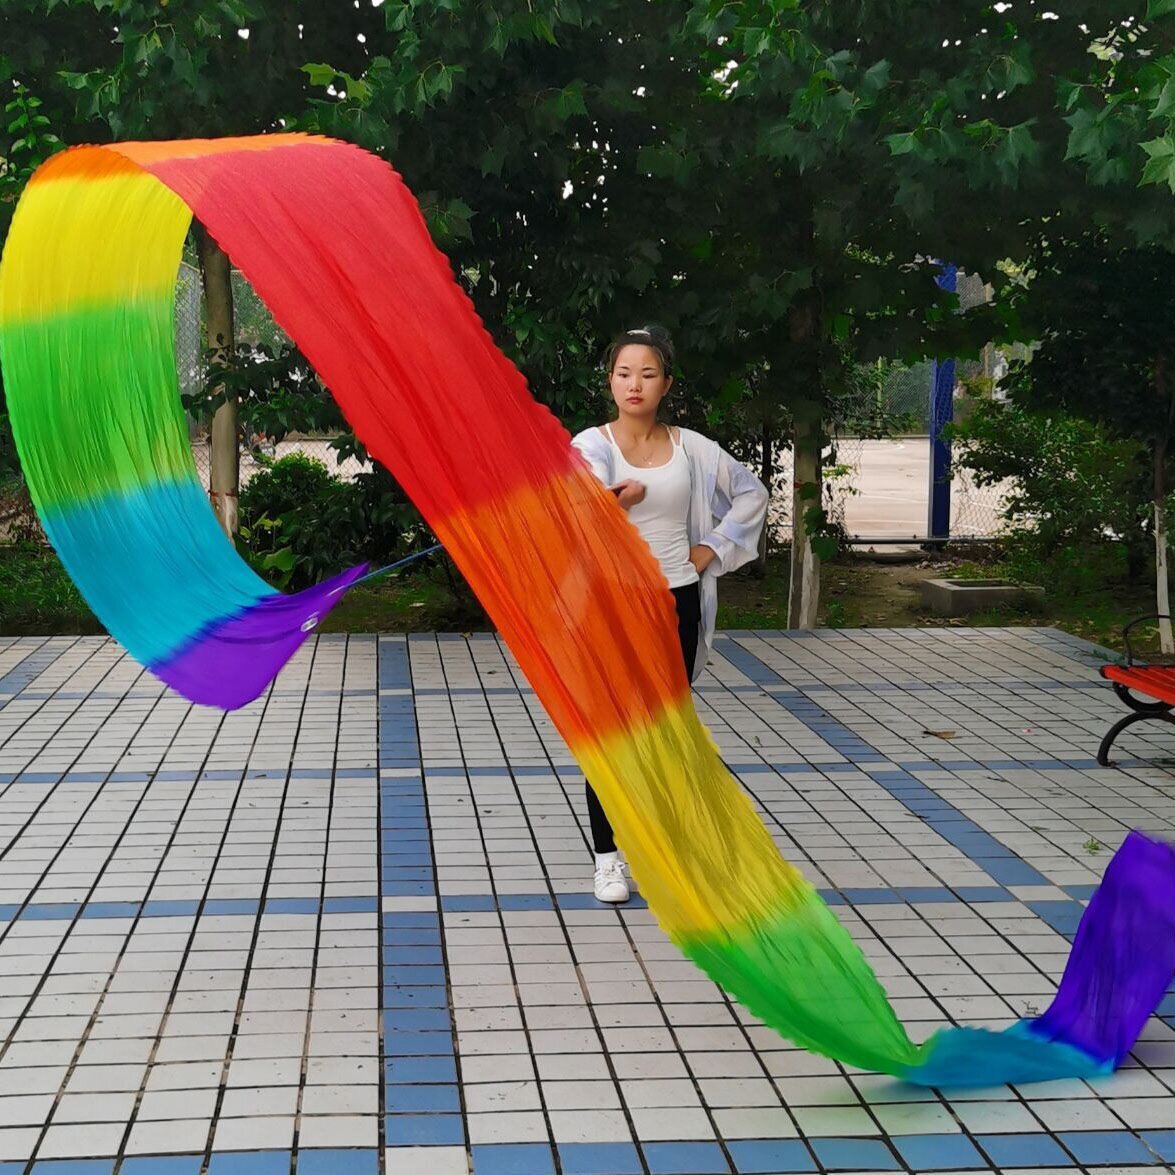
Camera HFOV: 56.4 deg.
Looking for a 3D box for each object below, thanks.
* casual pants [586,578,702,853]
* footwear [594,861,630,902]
[{"bbox_3d":[0.212,0.375,3.475,0.269,1.014,0.305,-1,5,-18],"label":"casual pants"},{"bbox_3d":[0.081,0.975,3.609,0.088,0.065,0.179,0,-4,-8],"label":"footwear"}]
